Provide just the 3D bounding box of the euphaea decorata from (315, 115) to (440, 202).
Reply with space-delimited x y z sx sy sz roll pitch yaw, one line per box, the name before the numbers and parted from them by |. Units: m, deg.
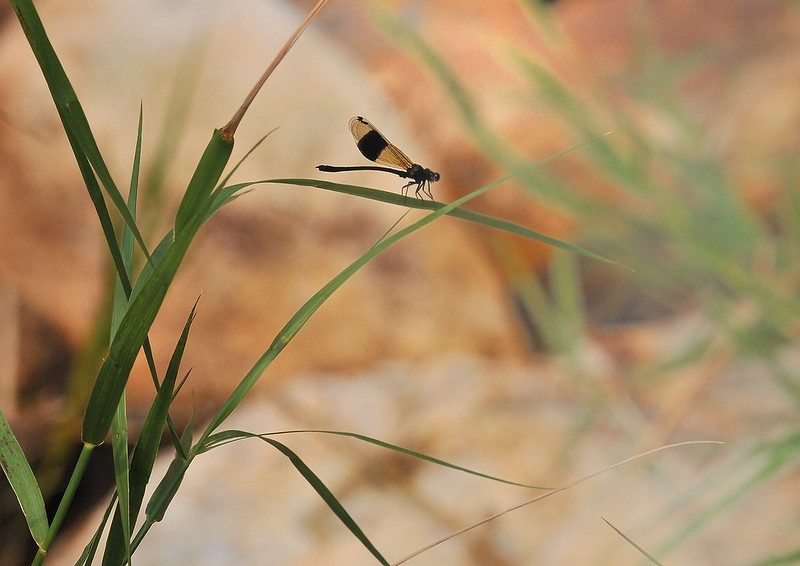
euphaea decorata | -0.022 -0.202 1.454 0.231 0.084 0.150 11 -67 9
